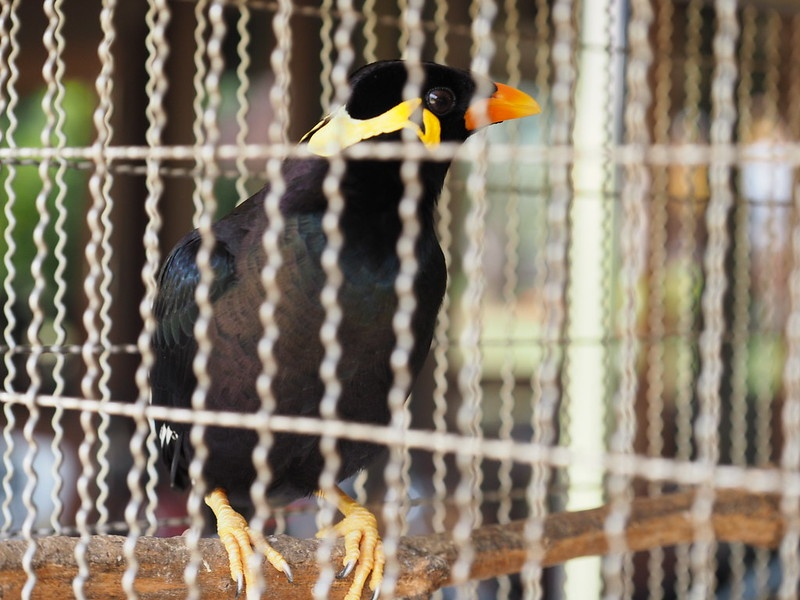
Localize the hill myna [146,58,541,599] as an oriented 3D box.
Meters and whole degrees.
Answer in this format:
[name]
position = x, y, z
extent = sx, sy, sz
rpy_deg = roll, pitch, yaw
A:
[hill myna]
position = -0.242, 0.031, 2.983
extent = 0.985, 1.042, 0.481
rpy_deg = -9, -12, 41
